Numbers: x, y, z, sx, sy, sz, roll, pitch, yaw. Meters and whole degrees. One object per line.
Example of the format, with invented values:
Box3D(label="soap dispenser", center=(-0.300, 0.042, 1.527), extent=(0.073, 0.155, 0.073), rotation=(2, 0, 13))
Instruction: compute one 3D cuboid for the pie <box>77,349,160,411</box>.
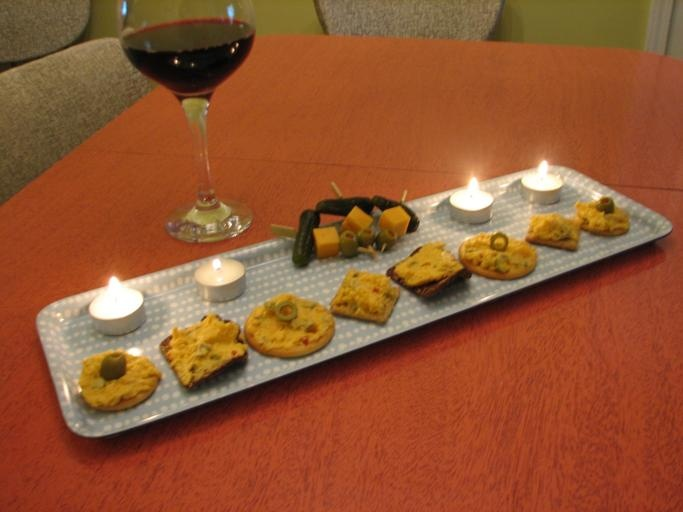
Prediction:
Box3D(label="pie", center=(-0.317, 0.171, 0.740), extent=(0.117, 0.038, 0.087), rotation=(-2, 45, 2))

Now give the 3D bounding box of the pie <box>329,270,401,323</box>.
Box3D(label="pie", center=(0.032, 0.076, 0.872), extent=(0.078, 0.029, 0.087), rotation=(13, 42, 17))
